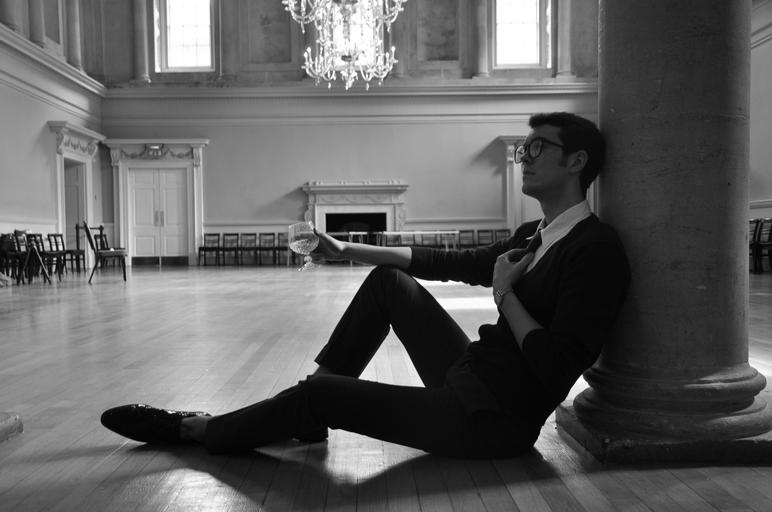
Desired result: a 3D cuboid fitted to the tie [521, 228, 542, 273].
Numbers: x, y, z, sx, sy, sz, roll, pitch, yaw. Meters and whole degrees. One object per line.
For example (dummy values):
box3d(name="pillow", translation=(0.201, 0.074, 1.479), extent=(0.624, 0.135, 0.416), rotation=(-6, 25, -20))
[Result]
box3d(name="tie", translation=(0.575, -0.046, 2.215), extent=(0.049, 0.217, 0.071), rotation=(3, -30, 29))

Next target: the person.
box3d(name="person", translation=(-0.110, 0.101, 2.304), extent=(2.000, 1.369, 0.680), rotation=(2, -8, 11))

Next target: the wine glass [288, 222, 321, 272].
box3d(name="wine glass", translation=(-0.361, -0.054, 2.532), extent=(0.124, 0.205, 0.123), rotation=(4, 18, 45))

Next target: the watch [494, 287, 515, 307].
box3d(name="watch", translation=(0.423, 0.141, 2.056), extent=(0.053, 0.042, 0.073), rotation=(-21, 3, 18))
